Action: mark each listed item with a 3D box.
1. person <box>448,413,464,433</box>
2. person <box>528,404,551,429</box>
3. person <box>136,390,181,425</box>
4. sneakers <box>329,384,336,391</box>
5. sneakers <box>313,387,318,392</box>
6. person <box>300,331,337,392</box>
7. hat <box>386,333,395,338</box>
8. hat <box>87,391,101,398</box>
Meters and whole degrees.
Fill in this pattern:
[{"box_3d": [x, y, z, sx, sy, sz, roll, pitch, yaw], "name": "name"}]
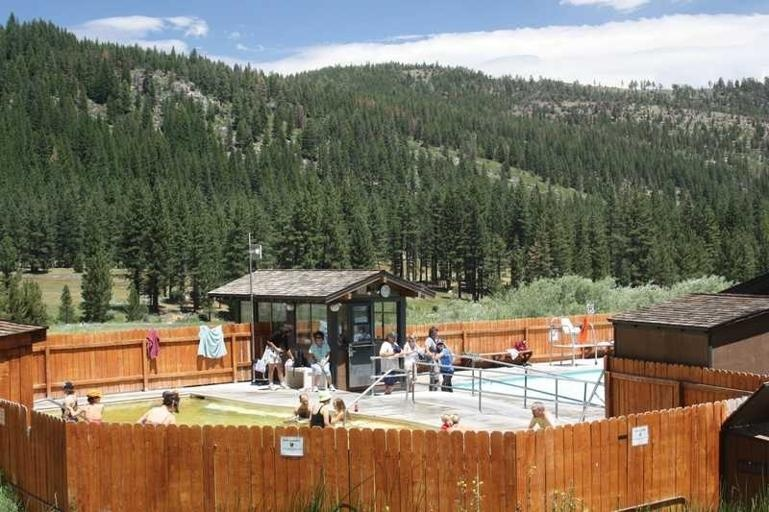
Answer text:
[{"box_3d": [2.530, 6.323, 37.773, 0.660, 0.508, 1.212, -1, 4, 3], "name": "person"}, {"box_3d": [5.497, 5.645, 35.030, 0.820, 0.899, 0.765, -1, 4, -10], "name": "person"}, {"box_3d": [-7.769, 5.327, 34.526, 1.314, 1.047, 1.634, -3, 5, -22], "name": "person"}, {"box_3d": [-2.284, 5.906, 44.536, 0.169, 0.318, 0.288, 12, -28, -34], "name": "sneakers"}, {"box_3d": [-3.062, 5.961, 44.393, 0.243, 0.298, 0.147, 1, 6, 10], "name": "sneakers"}, {"box_3d": [-2.836, 4.701, 44.477, 1.101, 2.554, 0.502, -1, 4, -5], "name": "person"}, {"box_3d": [0.303, 3.544, 43.932, 0.194, 0.284, 0.236, -1, 3, -23], "name": "hat"}, {"box_3d": [-10.997, 5.243, 37.782, 0.424, 0.317, 0.638, -3, 5, -25], "name": "hat"}]
